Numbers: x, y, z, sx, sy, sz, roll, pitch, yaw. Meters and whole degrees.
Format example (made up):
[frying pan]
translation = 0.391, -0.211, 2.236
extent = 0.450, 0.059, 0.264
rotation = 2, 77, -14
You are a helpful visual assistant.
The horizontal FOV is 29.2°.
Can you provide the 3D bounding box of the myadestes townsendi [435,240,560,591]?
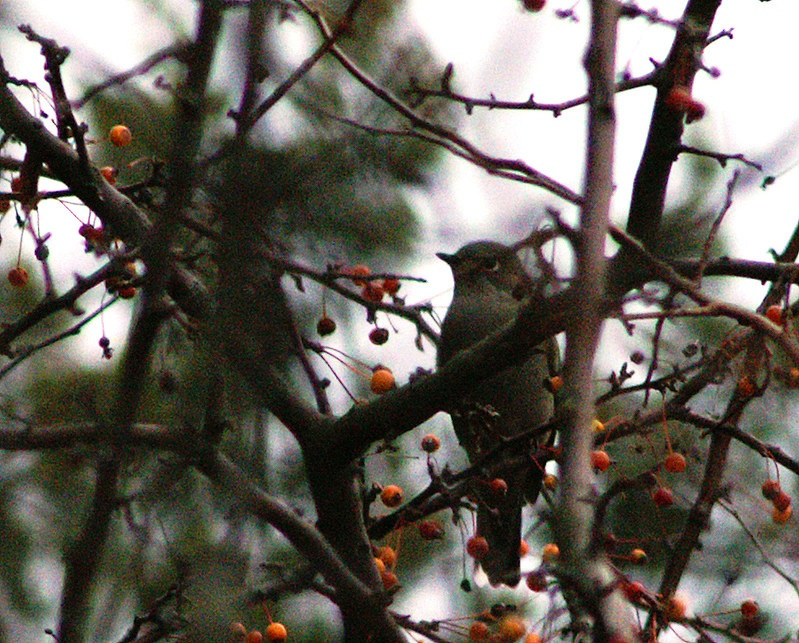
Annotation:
[myadestes townsendi]
translation = 0.399, 0.341, 6.081
extent = 0.374, 0.559, 1.474
rotation = -8, -103, 18
